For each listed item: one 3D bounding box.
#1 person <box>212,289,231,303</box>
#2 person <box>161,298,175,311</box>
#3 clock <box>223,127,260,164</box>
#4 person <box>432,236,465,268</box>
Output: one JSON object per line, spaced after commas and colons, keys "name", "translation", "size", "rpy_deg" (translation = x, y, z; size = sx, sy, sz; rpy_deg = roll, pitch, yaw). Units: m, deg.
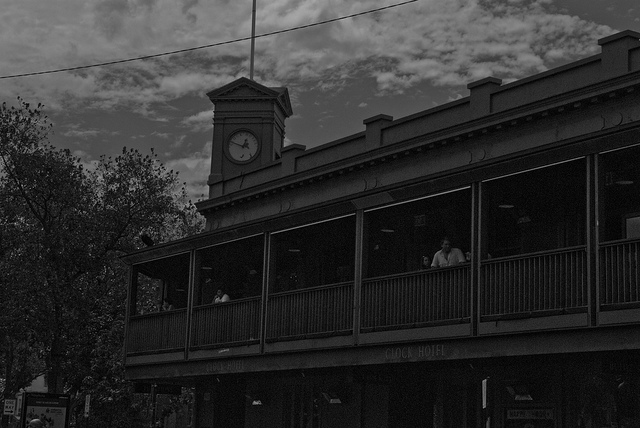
{"name": "person", "translation": [-3.637, 3.011, 42.140], "size": [0.429, 0.721, 0.454], "rpy_deg": [16, -27, -18]}
{"name": "person", "translation": [-5.911, 3.332, 44.287], "size": [0.424, 0.656, 0.849], "rpy_deg": [7, 14, -7]}
{"name": "clock", "translation": [-3.098, -2.685, 45.100], "size": [1.563, 1.504, 0.157], "rpy_deg": [-6, -15, 16]}
{"name": "person", "translation": [3.900, 1.357, 35.211], "size": [1.244, 1.193, 0.627], "rpy_deg": [-7, 0, 16]}
